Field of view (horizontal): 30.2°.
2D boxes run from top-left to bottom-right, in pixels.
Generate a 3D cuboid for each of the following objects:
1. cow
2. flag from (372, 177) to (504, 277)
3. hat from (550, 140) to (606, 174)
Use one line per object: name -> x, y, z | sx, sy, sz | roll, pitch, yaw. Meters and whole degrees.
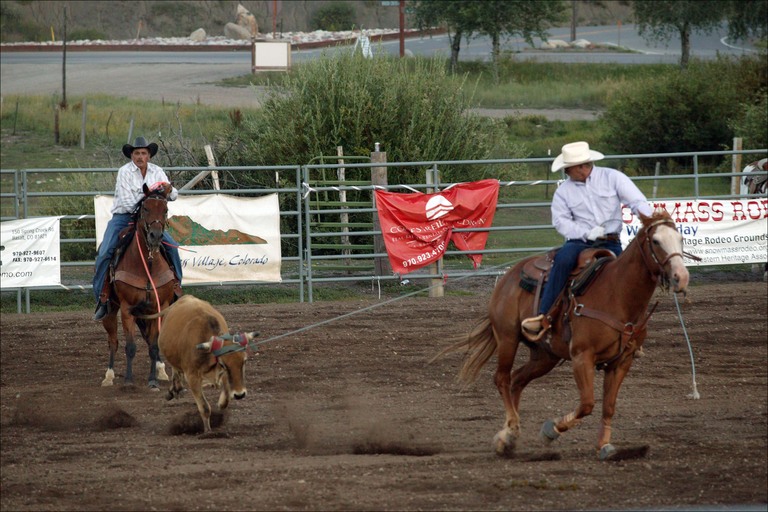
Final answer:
cow -> -3.774, 2.288, 30.075 | 2.557, 2.769, 0.843 | 4, 10, 43
flag -> 1.326, -0.719, 36.348 | 2.625, 1.950, 0.370 | -5, 10, -15
hat -> 3.952, -2.014, 29.594 | 0.775, 0.311, 0.691 | -4, 29, 29
